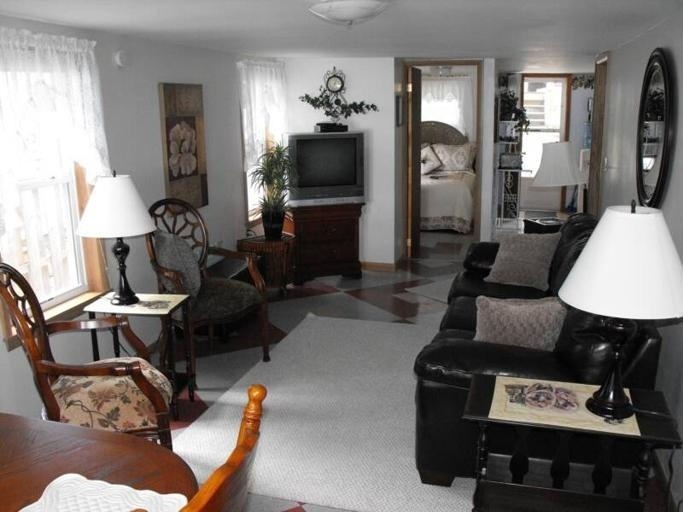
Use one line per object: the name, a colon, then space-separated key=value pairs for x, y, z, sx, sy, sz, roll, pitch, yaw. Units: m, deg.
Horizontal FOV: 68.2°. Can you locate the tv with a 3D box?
tv: x=-0.264 y=-1.124 z=6.577 sx=1.342 sy=1.168 sz=0.739 roll=-3 pitch=11 yaw=-13

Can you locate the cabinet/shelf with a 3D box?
cabinet/shelf: x=-0.124 y=-0.096 z=6.643 sx=0.959 sy=0.998 sz=0.804 roll=-4 pitch=-13 yaw=12

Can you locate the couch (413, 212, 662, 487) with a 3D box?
couch: x=1.424 y=0.454 z=3.845 sx=1.176 sy=1.226 sz=2.843 roll=2 pitch=14 yaw=22

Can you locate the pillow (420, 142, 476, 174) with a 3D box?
pillow: x=2.056 y=-1.894 z=9.784 sx=0.805 sy=0.769 sz=0.242 roll=-1 pitch=-6 yaw=8

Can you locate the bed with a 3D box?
bed: x=1.773 y=-1.572 z=9.234 sx=1.139 sy=1.054 sz=1.904 roll=-1 pitch=38 yaw=10

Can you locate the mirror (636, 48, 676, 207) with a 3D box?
mirror: x=2.304 y=-0.944 z=3.706 sx=0.119 sy=1.136 sz=0.883 roll=4 pitch=15 yaw=22

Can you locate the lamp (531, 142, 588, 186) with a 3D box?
lamp: x=2.135 y=-0.931 z=4.964 sx=0.585 sy=0.405 sz=0.578 roll=-19 pitch=17 yaw=-37

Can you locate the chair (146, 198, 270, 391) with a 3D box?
chair: x=-1.191 y=0.276 z=4.275 sx=0.918 sy=1.390 sz=0.890 roll=0 pitch=13 yaw=18
